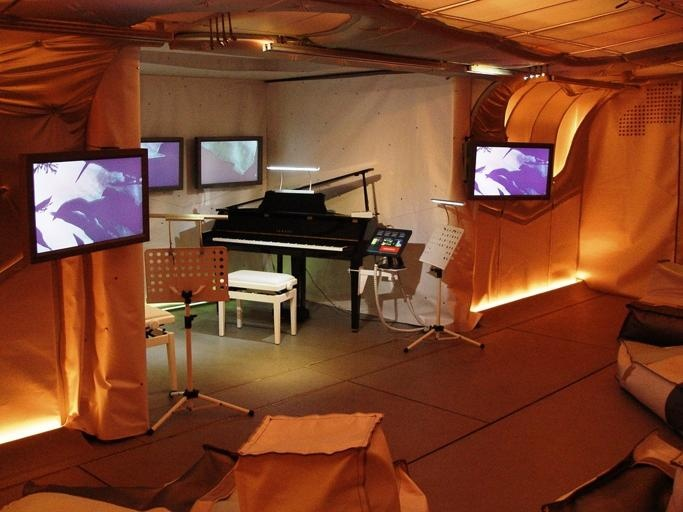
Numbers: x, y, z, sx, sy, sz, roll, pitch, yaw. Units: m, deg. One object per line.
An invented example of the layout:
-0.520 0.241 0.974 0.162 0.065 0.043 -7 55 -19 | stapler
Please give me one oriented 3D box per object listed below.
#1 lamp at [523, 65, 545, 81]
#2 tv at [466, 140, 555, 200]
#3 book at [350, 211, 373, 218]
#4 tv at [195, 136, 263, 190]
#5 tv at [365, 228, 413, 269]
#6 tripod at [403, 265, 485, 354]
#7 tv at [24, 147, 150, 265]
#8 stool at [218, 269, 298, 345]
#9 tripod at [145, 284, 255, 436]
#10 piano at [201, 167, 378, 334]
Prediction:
2.153 -2.014 6.396 0.214 0.132 0.271 0 14 -3 | lamp
2.072 -1.055 7.194 1.501 0.712 0.144 -3 10 -33 | tv
0.267 -0.510 7.093 0.271 0.065 0.233 4 14 12 | book
-1.511 -1.280 7.966 1.075 0.690 0.092 2 3 24 | tv
0.564 -0.086 6.790 0.309 0.491 0.530 -4 7 -43 | tv
1.102 0.506 6.700 1.257 0.924 0.876 -3 4 -27 | tripod
-1.817 -0.360 4.086 0.114 0.600 0.879 10 13 32 | tv
-0.994 0.576 6.929 0.834 0.667 0.552 3 3 21 | stool
-1.221 0.827 4.844 0.939 1.054 0.951 1 2 15 | tripod
-0.484 -0.214 7.922 2.130 1.814 1.890 4 13 10 | piano
